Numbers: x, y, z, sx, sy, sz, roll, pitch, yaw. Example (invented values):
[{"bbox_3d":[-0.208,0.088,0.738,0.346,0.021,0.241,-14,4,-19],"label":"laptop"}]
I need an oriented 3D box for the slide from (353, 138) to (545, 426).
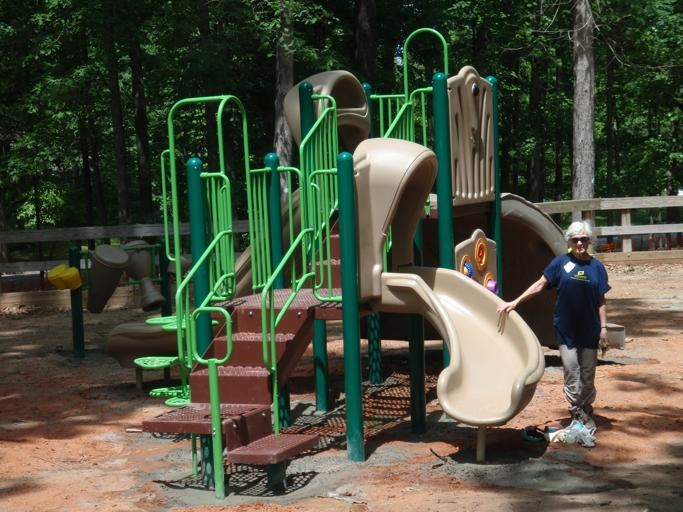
[{"bbox_3d":[1.345,0.496,11.727,2.059,4.006,2.446,1,8,22],"label":"slide"}]

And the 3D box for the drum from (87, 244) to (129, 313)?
[{"bbox_3d":[-4.320,0.377,16.805,0.588,1.319,0.538,0,6,0],"label":"drum"}]
